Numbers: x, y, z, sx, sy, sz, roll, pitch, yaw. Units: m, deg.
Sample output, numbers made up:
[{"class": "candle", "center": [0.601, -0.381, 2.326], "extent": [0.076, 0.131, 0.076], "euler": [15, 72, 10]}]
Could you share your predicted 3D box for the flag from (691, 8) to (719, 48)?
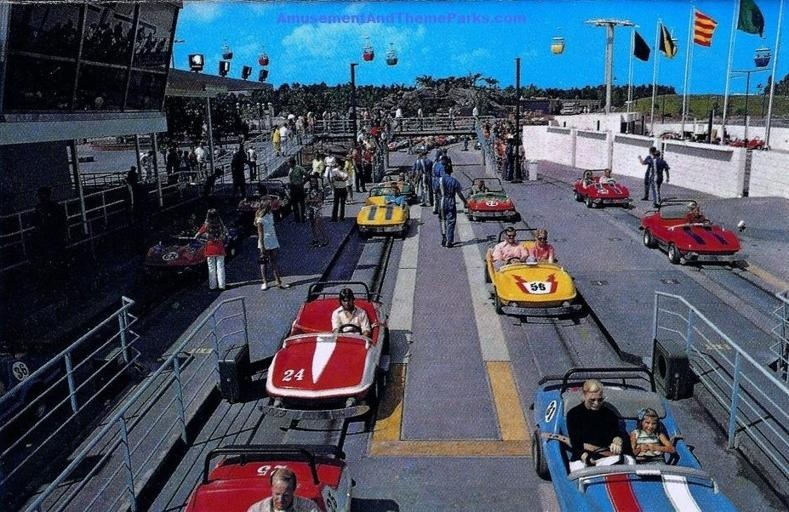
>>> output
[{"class": "flag", "center": [20.304, -15.023, 33.652], "extent": [0.836, 2.169, 1.202], "euler": [-10, 19, -27]}]

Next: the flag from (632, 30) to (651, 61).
[{"class": "flag", "center": [19.357, -16.572, 40.092], "extent": [1.180, 2.275, 4.066], "euler": [7, 19, 22]}]

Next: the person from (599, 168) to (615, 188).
[{"class": "person", "center": [9.712, -3.554, 23.345], "extent": [0.779, 0.508, 1.195], "euler": [1, 13, 14]}]

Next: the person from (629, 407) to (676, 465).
[{"class": "person", "center": [3.760, 2.708, 7.712], "extent": [0.643, 0.905, 0.744], "euler": [-6, -12, 13]}]

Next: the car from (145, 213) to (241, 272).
[{"class": "car", "center": [-6.036, -0.416, 15.129], "extent": [2.229, 1.816, 2.910], "euler": [-4, 18, -10]}]

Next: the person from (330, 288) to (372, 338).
[{"class": "person", "center": [-0.891, 1.128, 10.307], "extent": [0.749, 1.043, 0.945], "euler": [-3, 5, -3]}]

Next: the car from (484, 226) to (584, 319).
[{"class": "car", "center": [3.401, 0.411, 12.780], "extent": [1.890, 1.828, 2.383], "euler": [-1, 17, -1]}]

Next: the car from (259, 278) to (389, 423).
[{"class": "car", "center": [-1.178, 1.910, 9.850], "extent": [1.719, 1.093, 2.929], "euler": [0, 30, 4]}]

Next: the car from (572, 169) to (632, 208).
[{"class": "car", "center": [9.273, -2.902, 23.491], "extent": [1.694, 1.186, 2.563], "euler": [0, 21, 2]}]

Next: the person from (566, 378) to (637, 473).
[{"class": "person", "center": [2.969, 2.499, 7.602], "extent": [0.890, 1.301, 1.168], "euler": [-5, -12, 3]}]

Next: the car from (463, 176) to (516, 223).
[{"class": "car", "center": [3.891, -2.182, 21.232], "extent": [1.937, 1.369, 2.004], "euler": [-4, 18, -12]}]
